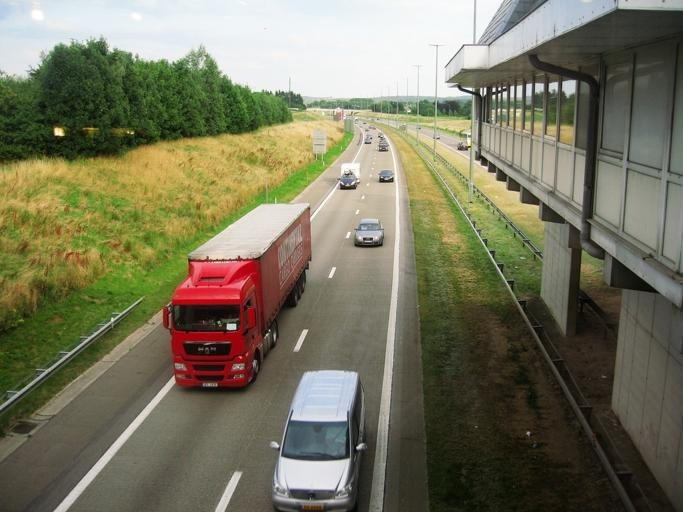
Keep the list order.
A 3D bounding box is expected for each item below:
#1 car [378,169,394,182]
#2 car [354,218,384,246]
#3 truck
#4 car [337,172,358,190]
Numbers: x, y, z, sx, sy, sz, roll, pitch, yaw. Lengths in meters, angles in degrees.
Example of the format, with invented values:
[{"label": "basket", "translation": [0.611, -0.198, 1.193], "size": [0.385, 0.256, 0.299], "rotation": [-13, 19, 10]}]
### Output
[{"label": "car", "translation": [4.948, -8.839, 60.326], "size": [1.241, 1.247, 3.117], "rotation": [-1, 13, 5]}, {"label": "car", "translation": [1.778, -1.361, 34.594], "size": [1.719, 1.184, 1.825], "rotation": [0, 16, 4]}, {"label": "truck", "translation": [-3.369, 0.517, 21.955], "size": [2.561, 4.343, 11.012], "rotation": [0, 18, 7]}, {"label": "car", "translation": [0.742, -7.644, 56.314], "size": [1.692, 1.310, 2.197], "rotation": [1, 16, 7]}]
